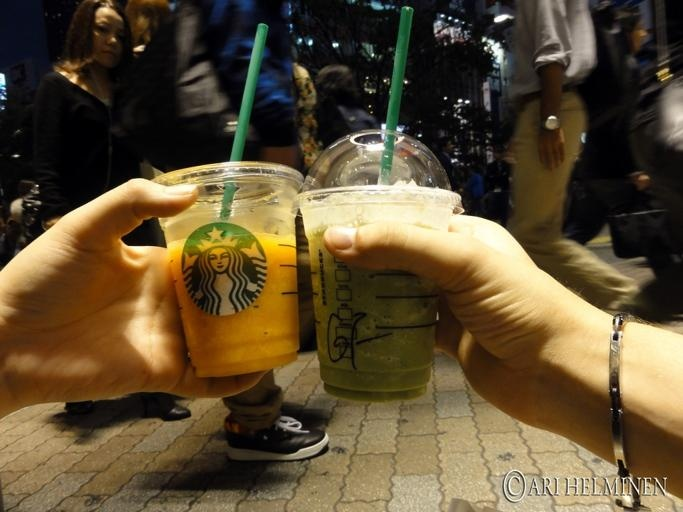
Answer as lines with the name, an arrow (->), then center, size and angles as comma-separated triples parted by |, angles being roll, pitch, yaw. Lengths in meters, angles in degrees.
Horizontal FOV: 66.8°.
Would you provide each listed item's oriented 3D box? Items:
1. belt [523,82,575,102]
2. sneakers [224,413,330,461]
belt -> 1.331, -1.061, 3.369 | 0.130, 0.047, 0.135 | -25, 5, -14
sneakers -> -0.358, 1.094, 3.147 | 0.690, 0.254, 0.234 | -1, -3, -8
